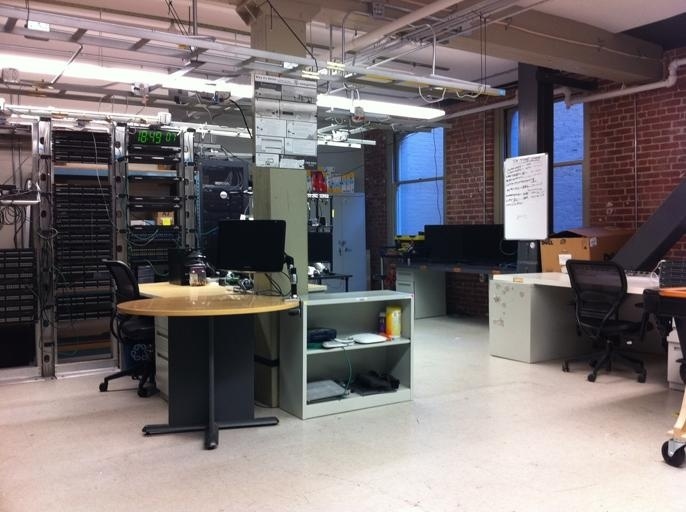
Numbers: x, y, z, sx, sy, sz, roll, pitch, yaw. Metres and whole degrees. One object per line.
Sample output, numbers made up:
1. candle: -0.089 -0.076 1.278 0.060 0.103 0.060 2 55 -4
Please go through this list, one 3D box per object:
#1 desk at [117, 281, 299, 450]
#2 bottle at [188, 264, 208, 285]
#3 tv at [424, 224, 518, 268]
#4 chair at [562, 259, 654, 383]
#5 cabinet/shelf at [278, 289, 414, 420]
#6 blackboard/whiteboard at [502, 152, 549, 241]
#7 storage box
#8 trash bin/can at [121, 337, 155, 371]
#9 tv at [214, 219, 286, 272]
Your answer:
1. desk: -1.171 0.747 4.522 1.282 0.918 1.194 0 -2 -24
2. bottle: -1.523 0.203 5.737 0.180 0.245 0.202 1 -4 -37
3. tv: 1.871 -0.184 8.374 1.562 0.606 0.234 7 12 42
4. chair: 2.698 0.642 5.642 0.739 1.144 0.818 2 0 -33
5. cabinet/shelf: 0.037 0.834 4.921 1.167 0.948 0.440 -1 5 -34
6. blackboard/whiteboard: 2.306 -0.742 7.001 0.195 1.056 0.732 -6 10 -29
7. storage box: 3.044 -0.058 6.862 1.044 0.544 0.808 -4 0 -26
8. trash bin/can: -2.031 0.960 5.499 0.400 0.365 0.212 1 -10 -9
9. tv: -0.803 -0.074 4.701 0.680 0.458 0.218 3 9 22
